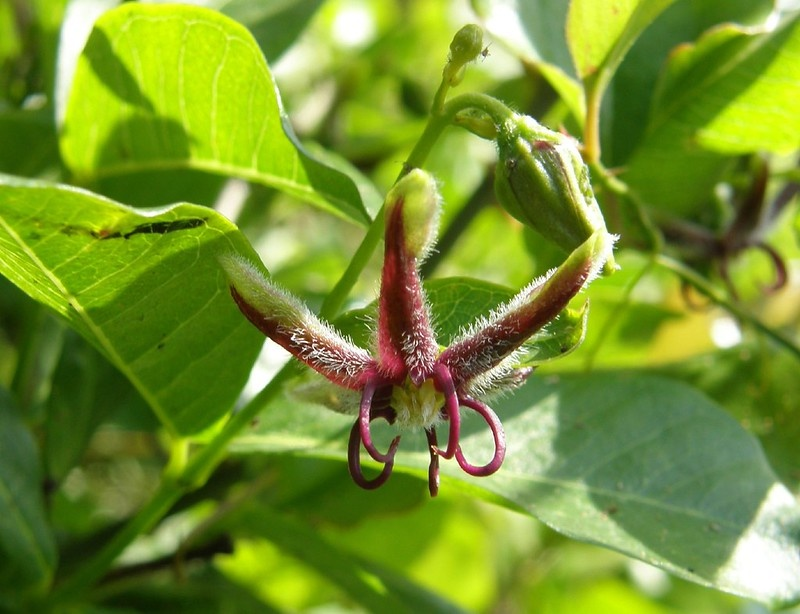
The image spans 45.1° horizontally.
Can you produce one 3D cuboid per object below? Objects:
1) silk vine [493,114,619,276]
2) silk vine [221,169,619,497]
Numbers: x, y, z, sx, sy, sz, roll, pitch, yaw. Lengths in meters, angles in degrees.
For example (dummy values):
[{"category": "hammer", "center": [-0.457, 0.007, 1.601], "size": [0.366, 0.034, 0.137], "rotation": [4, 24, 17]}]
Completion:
[{"category": "silk vine", "center": [0.221, -0.130, 1.296], "size": [0.252, 0.105, 0.099], "rotation": [47, 31, -12]}, {"category": "silk vine", "center": [0.031, 0.053, 1.234], "size": [0.421, 0.415, 0.217], "rotation": [-20, 45, 17]}]
